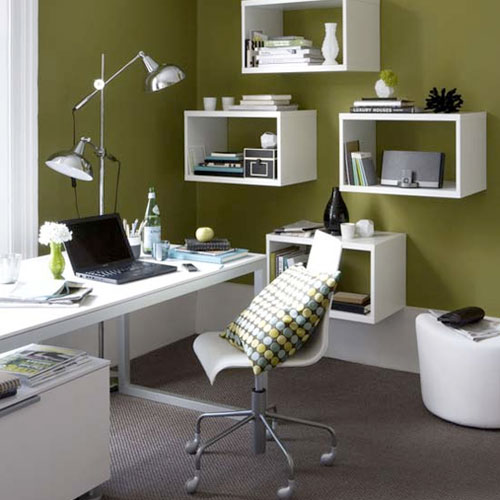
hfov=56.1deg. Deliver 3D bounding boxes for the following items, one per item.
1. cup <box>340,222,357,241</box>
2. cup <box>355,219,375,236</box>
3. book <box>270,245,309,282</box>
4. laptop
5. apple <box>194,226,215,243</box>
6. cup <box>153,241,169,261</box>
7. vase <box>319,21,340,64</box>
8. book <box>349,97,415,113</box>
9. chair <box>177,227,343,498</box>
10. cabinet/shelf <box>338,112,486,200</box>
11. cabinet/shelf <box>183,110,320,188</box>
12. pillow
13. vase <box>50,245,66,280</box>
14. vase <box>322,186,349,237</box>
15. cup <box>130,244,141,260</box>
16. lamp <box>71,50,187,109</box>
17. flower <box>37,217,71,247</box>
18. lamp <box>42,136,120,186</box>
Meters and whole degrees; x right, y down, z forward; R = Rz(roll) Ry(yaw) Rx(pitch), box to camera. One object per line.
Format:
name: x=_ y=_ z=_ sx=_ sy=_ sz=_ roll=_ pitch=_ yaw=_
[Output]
cup: x=0.584 y=-0.107 z=2.713 sx=0.131 sy=0.092 sz=0.105 roll=-1 pitch=5 yaw=-15
cup: x=0.671 y=-0.136 z=2.764 sx=0.084 sy=0.094 sz=0.093 roll=-1 pitch=4 yaw=0
book: x=0.255 y=0.059 z=3.011 sx=0.079 sy=0.264 sz=0.176 roll=17 pitch=-20 yaw=-24
laptop: x=-0.561 y=-0.023 z=1.978 sx=0.357 sy=0.260 sz=0.365 roll=2 pitch=7 yaw=31
apple: x=-0.222 y=-0.074 z=2.288 sx=0.075 sy=0.086 sz=0.085 roll=1 pitch=6 yaw=13
cup: x=-0.406 y=0.007 z=2.158 sx=0.059 sy=0.086 sz=0.080 roll=1 pitch=3 yaw=-5
vase: x=0.459 y=-1.168 z=2.683 sx=0.100 sy=0.268 sz=0.173 roll=1 pitch=5 yaw=9
book: x=0.708 y=-0.772 z=2.511 sx=0.331 sy=0.106 sz=0.121 roll=1 pitch=5 yaw=12
chair: x=0.017 y=0.317 z=2.168 sx=0.678 sy=1.217 sz=0.872 roll=1 pitch=4 yaw=-10
cabinet/shelf: x=0.851 y=-0.550 z=2.608 sx=0.586 sy=0.427 sz=0.343 roll=4 pitch=20 yaw=27
cabinet/shelf: x=-0.096 y=-0.734 z=3.082 sx=0.599 sy=0.445 sz=0.375 roll=4 pitch=26 yaw=7
pillow: x=0.115 y=0.240 z=1.770 sx=0.372 sy=0.341 sz=0.324 roll=-1 pitch=5 yaw=-12
vase: x=-0.741 y=0.041 z=1.795 sx=0.048 sy=0.133 sz=0.141 roll=-2 pitch=5 yaw=-24
vase: x=0.521 y=-0.243 z=2.827 sx=0.137 sy=0.274 sz=0.152 roll=6 pitch=19 yaw=25
cup: x=-0.532 y=0.015 z=2.197 sx=0.045 sy=0.061 sz=0.049 roll=1 pitch=10 yaw=0
lamp: x=-0.594 y=-0.791 z=2.258 sx=0.545 sy=0.325 sz=0.188 roll=1 pitch=21 yaw=1
flower: x=-0.758 y=-0.064 z=1.815 sx=0.101 sy=0.109 sz=0.110 roll=3 pitch=11 yaw=-4
lamp: x=-0.732 y=-0.394 z=2.076 sx=0.298 sy=0.218 sz=0.249 roll=13 pitch=-3 yaw=-1
